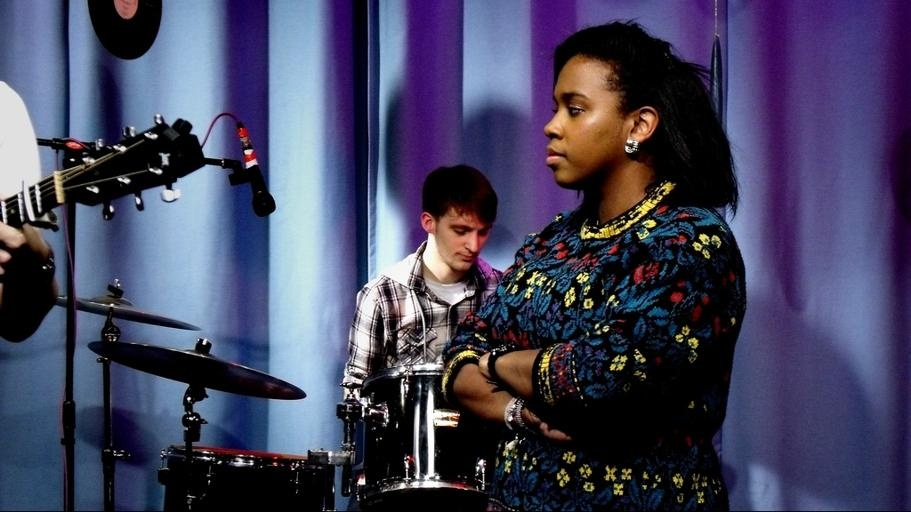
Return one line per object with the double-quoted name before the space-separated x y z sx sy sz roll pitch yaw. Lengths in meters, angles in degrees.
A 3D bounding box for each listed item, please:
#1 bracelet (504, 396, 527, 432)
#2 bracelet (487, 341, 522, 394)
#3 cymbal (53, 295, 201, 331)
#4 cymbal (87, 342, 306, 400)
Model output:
"bracelet" 0.246 0.645 5.492 0.049 0.105 0.118 1 -46 25
"bracelet" 0.199 0.471 5.482 0.162 0.135 0.060 43 6 6
"cymbal" -1.702 0.294 6.892 0.351 0.070 0.357 7 -9 45
"cymbal" -1.236 0.500 6.514 0.878 0.157 0.877 5 -17 14
